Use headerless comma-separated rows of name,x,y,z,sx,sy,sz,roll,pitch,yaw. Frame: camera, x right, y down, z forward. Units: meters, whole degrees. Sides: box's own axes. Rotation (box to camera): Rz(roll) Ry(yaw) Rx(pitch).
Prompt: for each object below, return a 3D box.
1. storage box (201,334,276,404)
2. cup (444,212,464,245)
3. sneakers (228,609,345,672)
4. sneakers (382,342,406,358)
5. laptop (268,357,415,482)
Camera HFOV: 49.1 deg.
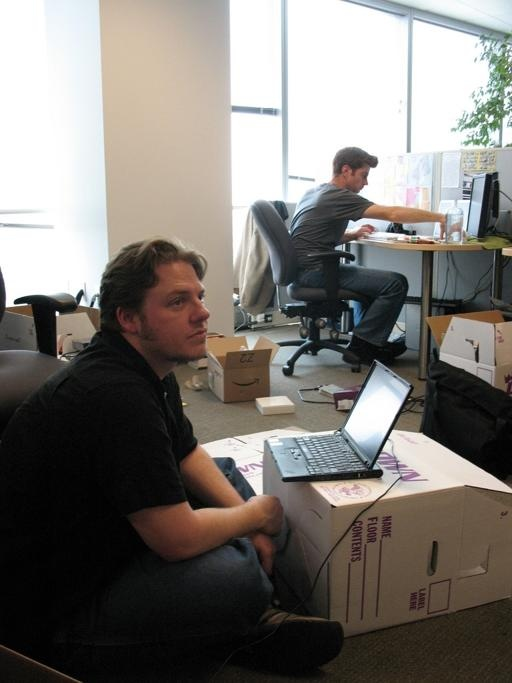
storage box,-0.082,0.151,2.853,0.400,0.273,0.321,-1,10,-13
cup,1.090,-0.631,3.094,0.093,0.164,0.141,2,15,18
sneakers,0.052,0.534,0.997,0.140,0.048,0.136,1,8,12
sneakers,0.871,0.054,3.557,0.106,0.047,0.139,-1,9,4
laptop,0.185,0.191,1.231,0.277,0.198,0.291,2,10,-9
